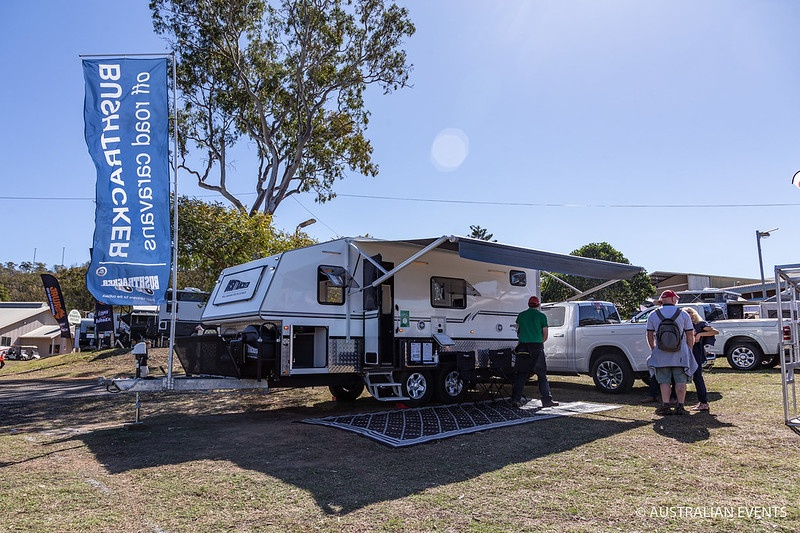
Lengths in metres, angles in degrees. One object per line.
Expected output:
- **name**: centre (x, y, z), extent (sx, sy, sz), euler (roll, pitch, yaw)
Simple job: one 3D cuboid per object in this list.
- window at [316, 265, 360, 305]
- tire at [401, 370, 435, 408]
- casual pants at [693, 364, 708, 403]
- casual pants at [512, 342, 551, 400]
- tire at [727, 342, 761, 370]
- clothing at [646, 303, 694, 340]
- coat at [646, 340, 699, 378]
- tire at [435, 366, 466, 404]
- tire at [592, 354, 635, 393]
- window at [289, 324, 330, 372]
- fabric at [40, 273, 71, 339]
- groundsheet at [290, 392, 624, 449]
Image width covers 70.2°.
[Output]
- **window**: centre (-1.285, 0.365, 11.219), extent (0.857, 0.850, 0.503), euler (-6, -2, -44)
- **tire**: centre (0.323, 2.476, 11.579), extent (0.720, 0.713, 0.231), euler (9, -20, -36)
- **casual pants**: centre (5.403, 2.125, 10.294), extent (0.184, 0.632, 0.370), euler (-3, -2, 27)
- **casual pants**: centre (2.544, 2.056, 11.129), extent (0.721, 1.150, 0.351), euler (-2, -2, 11)
- **tire**: centre (9.072, 2.346, 15.004), extent (0.224, 0.621, 0.618), euler (-1, -21, -39)
- **clothing**: centre (4.745, 0.988, 9.970), extent (0.529, 0.782, 0.745), euler (22, -24, -34)
- **coat**: centre (4.716, 1.445, 9.918), extent (0.820, 0.779, 0.453), euler (3, 9, 5)
- **tire**: centre (1.026, 2.476, 12.016), extent (0.730, 0.725, 0.232), euler (11, -19, -39)
- **tire**: centre (4.663, 2.305, 12.430), extent (0.315, 0.877, 0.868), euler (4, 3, -45)
- **window**: centre (-1.836, 1.529, 10.779), extent (0.773, 0.748, 0.557), euler (4, -5, -44)
- **fabric**: centre (-13.002, 1.907, 21.906), extent (0.789, 3.297, 0.142), euler (2, 16, 32)
- **groundsheet**: centre (0.915, 2.718, 10.301), extent (4.894, 0.109, 2.501), euler (0, -3, -29)
